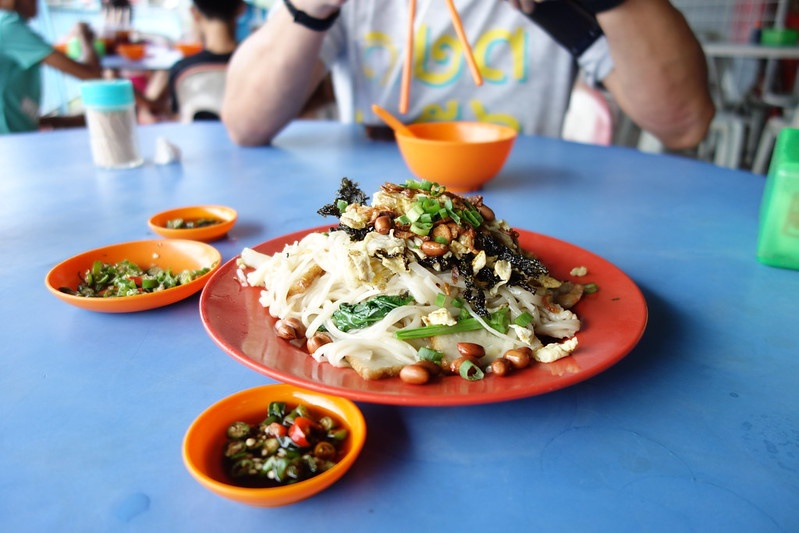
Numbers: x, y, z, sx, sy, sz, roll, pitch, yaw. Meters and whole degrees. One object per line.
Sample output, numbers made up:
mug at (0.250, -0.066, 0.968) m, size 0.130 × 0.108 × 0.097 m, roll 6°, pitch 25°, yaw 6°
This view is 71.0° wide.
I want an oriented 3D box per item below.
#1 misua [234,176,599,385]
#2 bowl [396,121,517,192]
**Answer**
misua at (0.068, 0.069, 1.504) m, size 0.654 × 0.233 × 0.656 m, roll -17°, pitch 38°, yaw -27°
bowl at (0.223, -0.448, 2.299) m, size 0.404 × 0.194 × 0.395 m, roll 0°, pitch 22°, yaw 0°
